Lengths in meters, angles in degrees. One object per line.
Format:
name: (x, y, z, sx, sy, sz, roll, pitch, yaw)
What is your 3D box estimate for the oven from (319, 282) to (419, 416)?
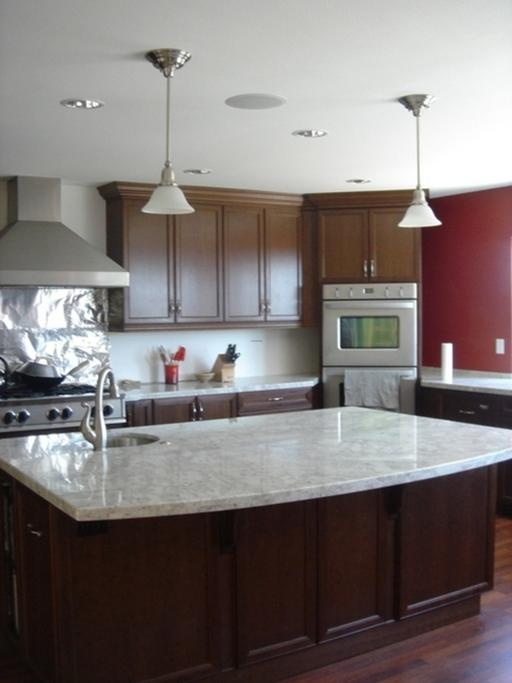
oven: (0.950, 0.002, 5.218, 0.765, 1.285, 0.638, 0, 25, 7)

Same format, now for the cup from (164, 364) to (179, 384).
cup: (-0.636, 0.245, 4.675, 0.095, 0.158, 0.124, -1, 1, -14)

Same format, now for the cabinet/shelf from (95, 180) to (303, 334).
cabinet/shelf: (-0.467, -0.637, 4.527, 1.120, 0.700, 0.195, -2, 1, -29)

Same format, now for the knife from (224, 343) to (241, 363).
knife: (-0.193, 0.089, 4.953, 0.158, 0.180, 0.092, 1, 1, -34)

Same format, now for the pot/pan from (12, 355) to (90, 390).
pot/pan: (-1.359, 0.214, 3.909, 0.344, 0.120, 0.221, -7, -6, 20)

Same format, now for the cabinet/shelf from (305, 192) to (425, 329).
cabinet/shelf: (0.926, -0.618, 5.188, 0.842, 1.153, 0.411, -1, 16, 6)
